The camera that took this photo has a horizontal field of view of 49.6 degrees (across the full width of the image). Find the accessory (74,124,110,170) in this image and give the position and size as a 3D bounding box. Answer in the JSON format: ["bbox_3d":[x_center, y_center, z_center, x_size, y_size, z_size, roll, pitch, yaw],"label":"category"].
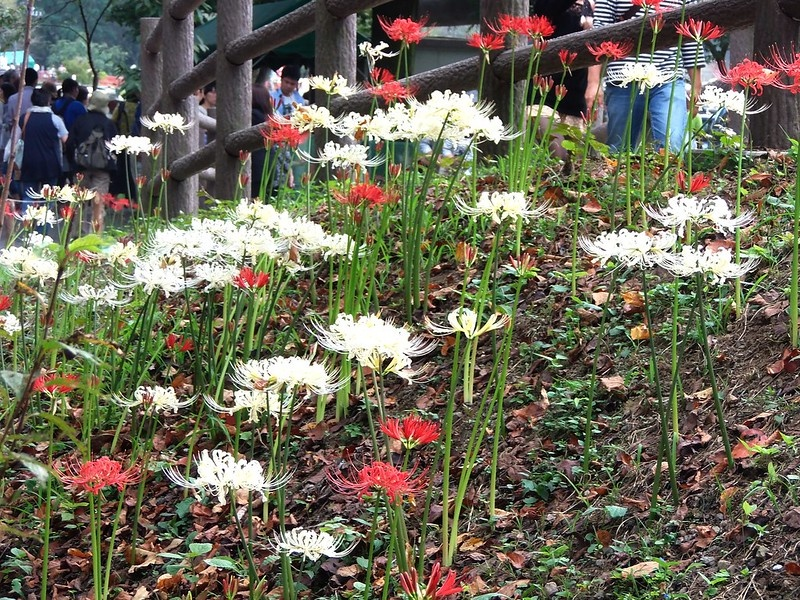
[{"bbox_3d":[-3.231,-1.644,9.258,0.335,0.453,0.267,10,27,5],"label":"accessory"}]

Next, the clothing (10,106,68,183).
[{"bbox_3d":[-3.843,-1.516,9.327,0.524,1.296,0.405,-3,-7,-10],"label":"clothing"}]

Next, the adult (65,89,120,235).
[{"bbox_3d":[-3.356,-1.455,9.419,0.529,1.505,0.429,2,12,-22],"label":"adult"}]

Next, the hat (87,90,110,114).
[{"bbox_3d":[-3.211,-2.123,9.269,0.139,0.192,0.248,-13,11,8],"label":"hat"}]
